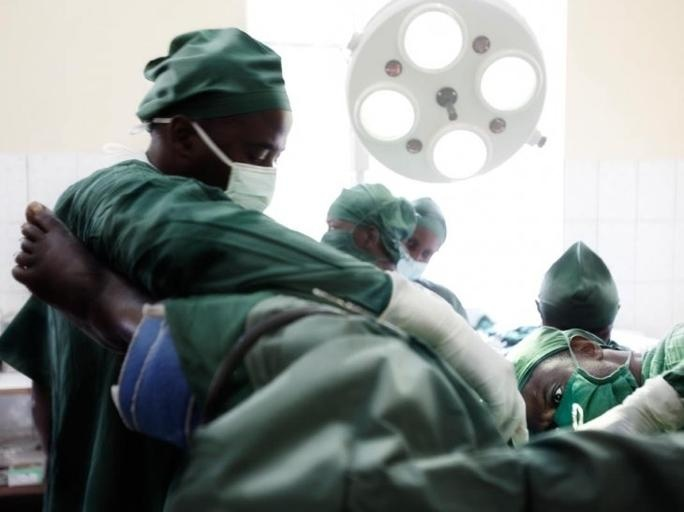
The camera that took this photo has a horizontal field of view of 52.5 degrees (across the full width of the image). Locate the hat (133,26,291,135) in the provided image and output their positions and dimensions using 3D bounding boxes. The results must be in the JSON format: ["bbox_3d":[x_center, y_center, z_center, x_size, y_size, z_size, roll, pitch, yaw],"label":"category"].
[{"bbox_3d":[-0.313,-0.405,1.707,0.302,0.168,0.239,-7,11,11],"label":"hat"}]

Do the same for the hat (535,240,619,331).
[{"bbox_3d":[0.765,0.115,2.374,0.248,0.308,0.260,2,-46,10],"label":"hat"}]

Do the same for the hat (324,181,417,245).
[{"bbox_3d":[0.105,-0.120,2.425,0.259,0.138,0.191,21,9,-22],"label":"hat"}]

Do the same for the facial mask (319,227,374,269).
[{"bbox_3d":[0.013,-0.019,2.331,0.081,0.137,0.110,11,-2,-21],"label":"facial mask"}]
